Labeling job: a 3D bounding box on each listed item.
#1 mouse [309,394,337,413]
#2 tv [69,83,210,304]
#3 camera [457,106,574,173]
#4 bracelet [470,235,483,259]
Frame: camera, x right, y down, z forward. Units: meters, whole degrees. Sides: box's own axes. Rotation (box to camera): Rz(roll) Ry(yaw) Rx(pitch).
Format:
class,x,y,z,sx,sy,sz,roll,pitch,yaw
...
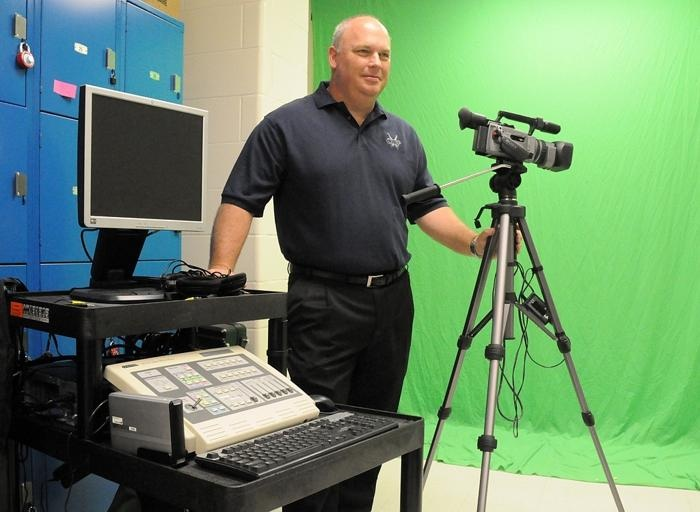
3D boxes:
class,x,y,z,sx,sy,sz,roll,pitch,yaw
mouse,-0.073,0.408,1.703,0.060,0.039,0.040,13,-1,-4
tv,-0.601,-0.183,1.745,0.199,0.550,0.371,9,9,32
camera,0.635,-0.447,2.354,0.455,0.202,0.139,7,0,-14
bracelet,0.468,-0.035,2.319,0.021,0.069,0.071,11,14,16
